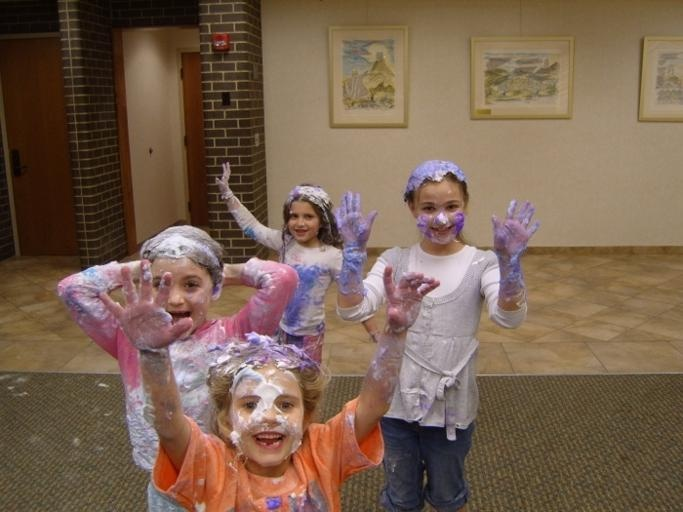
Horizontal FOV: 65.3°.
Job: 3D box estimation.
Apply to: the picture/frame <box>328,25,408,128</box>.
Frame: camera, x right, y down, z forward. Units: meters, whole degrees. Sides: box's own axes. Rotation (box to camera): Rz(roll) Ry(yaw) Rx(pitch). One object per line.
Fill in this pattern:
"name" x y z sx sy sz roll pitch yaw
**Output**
"picture/frame" 0.369 -2.516 7.222 1.183 1.548 0.098 1 19 4
